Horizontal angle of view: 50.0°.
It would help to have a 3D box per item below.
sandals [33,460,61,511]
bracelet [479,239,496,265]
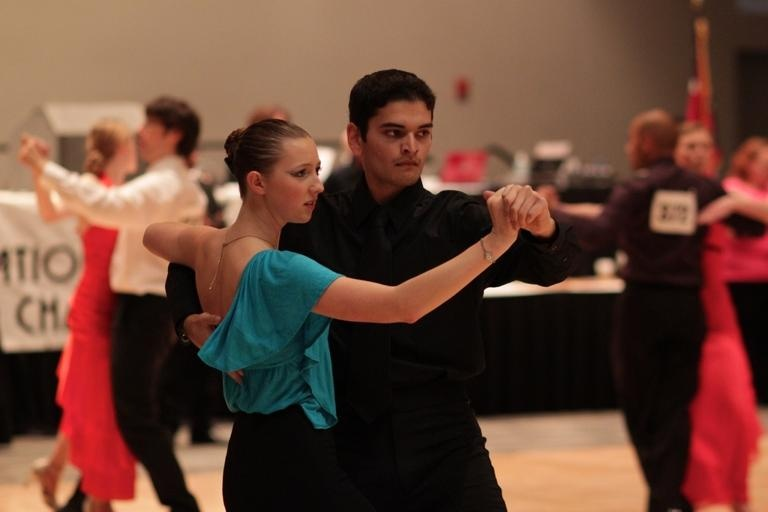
[{"bbox_3d":[-1.539,1.052,3.789,0.072,0.217,0.163,-13,5,-38],"label":"sandals"},{"bbox_3d":[0.333,-0.015,2.640,0.019,0.065,0.053,-15,-18,-1],"label":"bracelet"}]
